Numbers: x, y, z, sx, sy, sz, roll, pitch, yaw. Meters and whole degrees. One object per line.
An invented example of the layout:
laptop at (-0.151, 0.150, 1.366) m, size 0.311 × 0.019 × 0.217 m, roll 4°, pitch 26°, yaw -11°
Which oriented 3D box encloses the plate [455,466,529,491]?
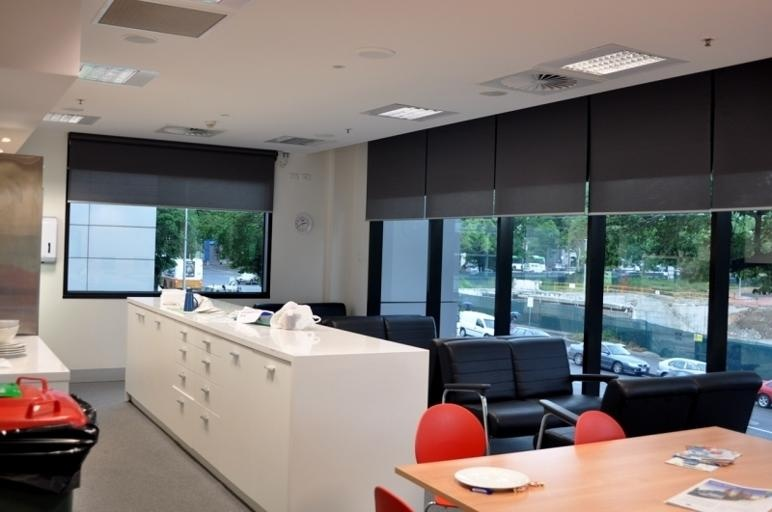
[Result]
plate at (0.553, 1.143, 2.610) m, size 0.343 × 0.047 × 0.286 m, roll 1°, pitch 0°, yaw 28°
